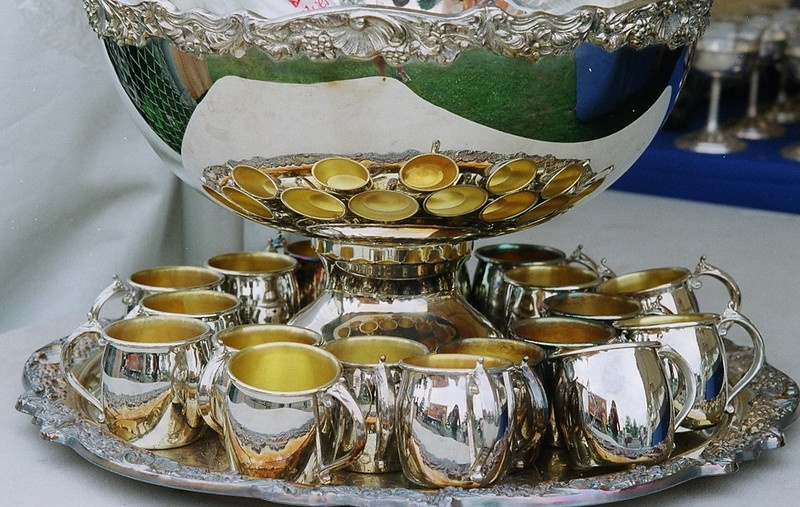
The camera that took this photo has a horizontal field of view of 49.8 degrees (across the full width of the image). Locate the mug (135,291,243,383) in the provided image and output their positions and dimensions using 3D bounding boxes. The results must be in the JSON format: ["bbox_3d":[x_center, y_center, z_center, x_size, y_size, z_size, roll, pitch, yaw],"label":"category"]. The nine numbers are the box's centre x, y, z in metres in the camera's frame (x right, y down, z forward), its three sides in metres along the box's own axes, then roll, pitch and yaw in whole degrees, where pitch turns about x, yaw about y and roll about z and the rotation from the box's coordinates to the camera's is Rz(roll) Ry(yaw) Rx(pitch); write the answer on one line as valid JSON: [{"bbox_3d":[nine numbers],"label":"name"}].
[{"bbox_3d":[-0.217,0.082,0.913,0.074,0.070,0.098,2,12,2],"label":"mug"}]

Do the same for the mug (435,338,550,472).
[{"bbox_3d":[0.116,0.137,0.867,0.129,0.131,0.088,7,16,26],"label":"mug"}]

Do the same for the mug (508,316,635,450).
[{"bbox_3d":[0.171,0.126,0.876,0.108,0.116,0.116,-1,8,2],"label":"mug"}]

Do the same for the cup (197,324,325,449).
[{"bbox_3d":[-0.109,0.104,0.819,0.081,0.100,0.130,16,25,29],"label":"cup"}]

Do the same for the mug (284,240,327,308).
[{"bbox_3d":[-0.108,0.028,1.091,0.073,0.076,0.073,-4,14,-8],"label":"mug"}]

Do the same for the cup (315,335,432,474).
[{"bbox_3d":[-0.029,0.163,0.824,0.097,0.114,0.104,5,62,-9],"label":"cup"}]

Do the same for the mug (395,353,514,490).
[{"bbox_3d":[0.057,0.150,0.785,0.107,0.128,0.139,-2,12,-11],"label":"mug"}]

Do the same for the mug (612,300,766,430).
[{"bbox_3d":[0.314,0.121,0.901,0.166,0.127,0.099,-6,-2,-17],"label":"mug"}]

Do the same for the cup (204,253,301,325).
[{"bbox_3d":[-0.168,0.036,0.989,0.091,0.091,0.089,-1,14,0],"label":"cup"}]

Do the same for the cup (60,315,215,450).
[{"bbox_3d":[-0.258,0.123,0.886,0.096,0.116,0.158,-4,10,-28],"label":"cup"}]

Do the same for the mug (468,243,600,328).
[{"bbox_3d":[0.163,0.022,1.036,0.088,0.102,0.148,9,12,29],"label":"mug"}]

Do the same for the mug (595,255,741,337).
[{"bbox_3d":[0.320,0.060,0.988,0.163,0.102,0.097,1,62,-10],"label":"mug"}]
